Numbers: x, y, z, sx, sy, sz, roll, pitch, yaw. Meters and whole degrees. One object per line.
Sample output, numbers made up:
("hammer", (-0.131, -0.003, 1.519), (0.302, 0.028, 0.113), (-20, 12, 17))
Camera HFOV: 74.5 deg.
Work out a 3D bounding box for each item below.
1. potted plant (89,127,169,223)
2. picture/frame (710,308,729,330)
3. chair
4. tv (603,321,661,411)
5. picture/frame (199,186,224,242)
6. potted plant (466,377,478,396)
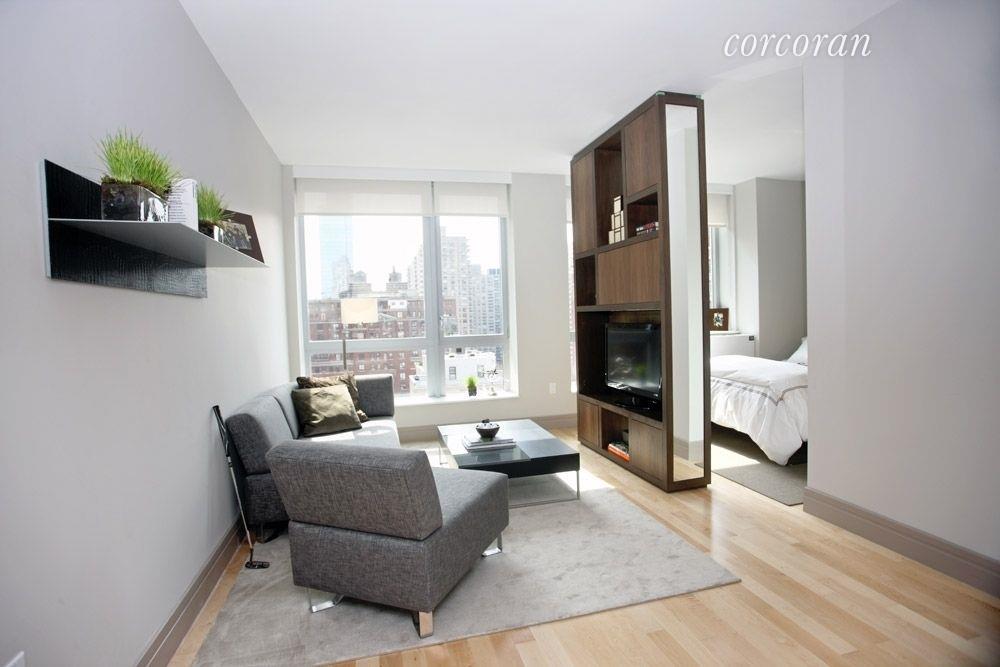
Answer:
("potted plant", (-1.794, -0.742, 3.261), (0.288, 0.362, 0.322), (5, 7, -25))
("picture/frame", (2.698, -0.176, 8.075), (0.307, 0.306, 0.035), (0, -4, 2))
("chair", (-0.596, 1.066, 4.069), (0.911, 0.981, 1.273), (1, 4, 26))
("tv", (1.142, 0.271, 5.595), (0.222, 0.550, 0.781), (-2, 4, -13))
("picture/frame", (-1.632, -0.683, 3.715), (0.118, 0.304, 0.366), (-5, 5, -22))
("potted plant", (-0.294, 0.562, 7.139), (0.102, 0.201, 0.144), (-4, 5, -11))
